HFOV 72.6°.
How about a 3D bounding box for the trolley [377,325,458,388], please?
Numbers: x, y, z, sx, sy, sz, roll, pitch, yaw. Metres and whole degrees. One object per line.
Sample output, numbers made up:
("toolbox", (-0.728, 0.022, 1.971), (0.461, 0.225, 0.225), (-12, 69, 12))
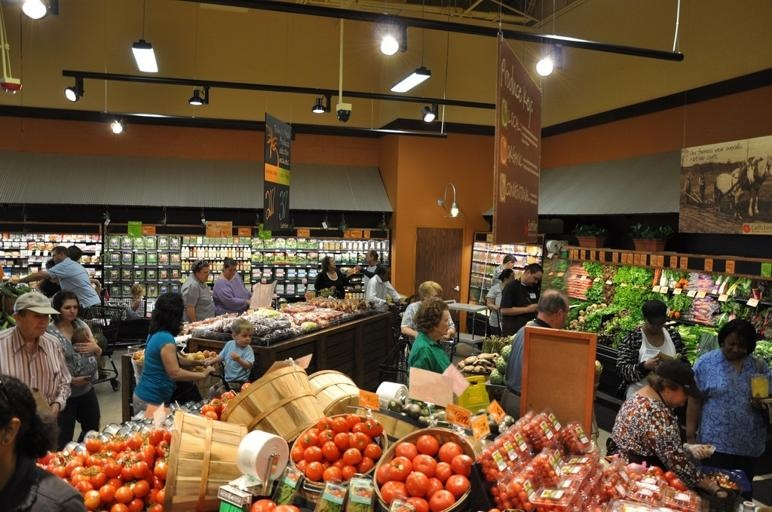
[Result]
("trolley", (0.217, 1.599, 8.158), (0.718, 0.859, 0.814), (5, -7, 8))

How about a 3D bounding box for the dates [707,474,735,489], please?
("dates", (2.584, 1.729, 4.029), (0.164, 0.057, 0.125), (-2, -3, -35))

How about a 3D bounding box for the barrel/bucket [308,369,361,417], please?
("barrel/bucket", (-0.399, 1.110, 4.272), (0.279, 0.326, 0.240), (2, 11, -36))

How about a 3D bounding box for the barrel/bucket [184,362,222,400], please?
("barrel/bucket", (-2.115, 1.423, 6.021), (0.279, 0.377, 0.525), (-3, 10, -5))

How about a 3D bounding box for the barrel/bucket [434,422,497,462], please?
("barrel/bucket", (0.556, 1.278, 3.711), (0.234, 0.164, 0.243), (8, 6, -1))

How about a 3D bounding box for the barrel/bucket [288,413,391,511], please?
("barrel/bucket", (-0.332, 1.335, 3.610), (0.543, 0.318, 0.523), (-1, 17, 0))

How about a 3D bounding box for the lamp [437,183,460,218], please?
("lamp", (1.548, -1.346, 12.869), (0.634, 0.843, 0.177), (1, 2, -25))

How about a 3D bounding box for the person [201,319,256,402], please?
("person", (-1.815, 1.272, 6.061), (0.538, 1.048, 0.570), (7, -4, -2))

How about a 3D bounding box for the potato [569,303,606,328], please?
("potato", (3.360, 1.016, 8.843), (0.457, 0.226, 0.443), (-36, 36, -31))

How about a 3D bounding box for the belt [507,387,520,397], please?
("belt", (1.205, 1.280, 4.947), (0.097, 0.026, 0.098), (4, -2, 0))

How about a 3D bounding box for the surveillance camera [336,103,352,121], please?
("surveillance camera", (-0.621, -2.123, 7.683), (0.179, 0.258, 0.348), (1, 3, -14))

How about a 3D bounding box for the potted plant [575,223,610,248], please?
("potted plant", (3.737, -0.349, 9.591), (0.535, 0.402, 0.438), (3, 3, 21))

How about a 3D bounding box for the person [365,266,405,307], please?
("person", (-0.010, 0.602, 9.652), (0.685, 1.215, 0.682), (2, 19, 3))

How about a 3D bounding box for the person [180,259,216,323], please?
("person", (-3.166, 0.607, 8.794), (0.462, 1.390, 0.611), (1, 16, 1))

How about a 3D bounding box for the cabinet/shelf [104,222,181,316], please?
("cabinet/shelf", (-5.527, 0.308, 12.182), (1.669, 1.548, 1.786), (5, 9, -8))

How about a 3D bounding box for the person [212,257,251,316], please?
("person", (-2.592, 0.506, 8.831), (0.471, 0.931, 0.673), (2, 2, 11))

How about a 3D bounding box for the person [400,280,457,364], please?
("person", (0.593, 0.916, 7.246), (0.668, 1.094, 0.717), (-1, -6, 44))

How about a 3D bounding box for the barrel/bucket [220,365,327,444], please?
("barrel/bucket", (-0.730, 1.084, 4.011), (0.551, 0.350, 0.594), (18, 16, -5))

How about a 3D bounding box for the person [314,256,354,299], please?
("person", (-1.059, 0.422, 10.192), (0.623, 0.761, 0.476), (1, 3, -25))

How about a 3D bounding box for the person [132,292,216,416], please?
("person", (-2.370, 1.078, 5.687), (0.754, 1.317, 0.389), (1, 2, -15))

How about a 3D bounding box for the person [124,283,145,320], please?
("person", (-5.199, 0.959, 10.866), (0.339, 0.744, 0.225), (-3, 26, -32))

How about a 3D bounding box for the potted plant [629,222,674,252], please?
("potted plant", (4.299, -0.274, 8.482), (0.593, 0.436, 0.427), (3, 3, 25))

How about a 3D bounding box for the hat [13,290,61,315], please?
("hat", (-3.178, 0.422, 4.768), (0.300, 0.168, 0.219), (-3, -3, 4))

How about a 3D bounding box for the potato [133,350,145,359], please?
("potato", (-3.026, 1.222, 6.416), (0.090, 0.038, 0.101), (-6, 26, -22))

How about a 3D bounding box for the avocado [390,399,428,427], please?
("avocado", (0.174, 1.161, 3.961), (0.262, 0.147, 0.109), (15, 37, 7))
